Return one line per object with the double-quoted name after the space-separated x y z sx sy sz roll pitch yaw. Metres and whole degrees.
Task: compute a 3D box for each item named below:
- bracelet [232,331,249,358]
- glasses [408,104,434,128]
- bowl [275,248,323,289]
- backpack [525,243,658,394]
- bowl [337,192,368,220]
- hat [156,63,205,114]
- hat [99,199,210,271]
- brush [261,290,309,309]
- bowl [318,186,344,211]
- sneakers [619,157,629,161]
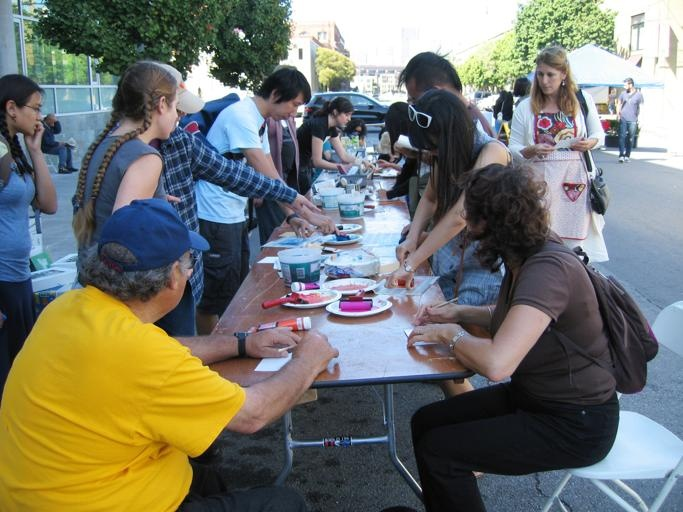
-0.410 0.363 2.031 0.051 0.094 0.085 3 -6 -3 "bracelet"
0.430 -0.732 2.711 0.122 0.050 0.125 8 24 -34 "glasses"
-0.225 0.063 2.729 0.252 0.203 0.283 7 15 26 "bowl"
1.029 0.257 1.978 0.482 0.583 0.225 -2 18 -12 "backpack"
0.077 -0.414 4.286 0.213 0.207 0.220 -1 3 0 "bowl"
-0.872 -0.922 2.778 0.320 0.123 0.207 34 28 -31 "hat"
-0.593 -0.089 1.589 0.277 0.156 0.193 -23 42 -39 "hat"
-0.283 0.215 2.423 0.163 0.042 0.093 -7 9 -9 "brush"
-0.102 -0.517 4.584 0.208 0.179 0.222 0 2 0 "bowl"
7.851 -2.665 13.817 0.137 0.162 0.351 7 4 42 "sneakers"
